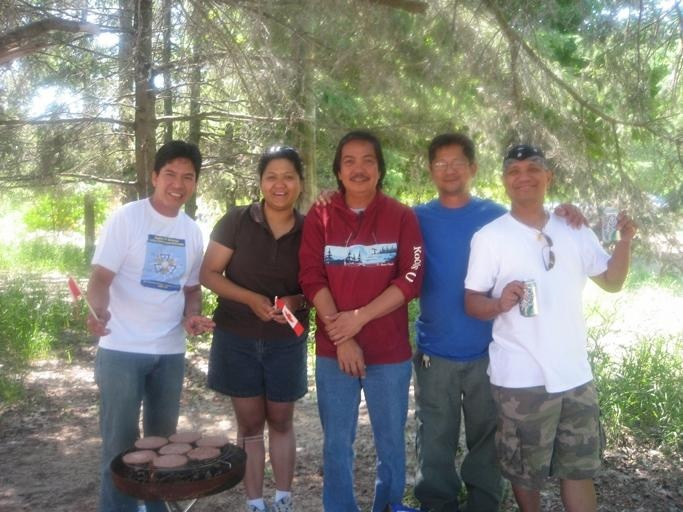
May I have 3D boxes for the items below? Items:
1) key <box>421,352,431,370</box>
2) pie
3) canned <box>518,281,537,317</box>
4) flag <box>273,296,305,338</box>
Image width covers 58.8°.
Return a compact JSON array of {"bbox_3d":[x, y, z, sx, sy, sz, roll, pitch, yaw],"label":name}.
[{"bbox_3d":[0.695,0.862,4.947,0.061,0.099,0.098,-1,15,-11],"label":"key"},{"bbox_3d":[-1.177,1.339,4.358,0.448,0.157,0.614,2,2,9],"label":"pie"},{"bbox_3d":[1.382,0.312,4.426,0.191,0.184,0.106,1,2,-40],"label":"canned"},{"bbox_3d":[-0.413,0.493,4.692,0.210,0.327,0.441,2,1,-8],"label":"flag"}]
